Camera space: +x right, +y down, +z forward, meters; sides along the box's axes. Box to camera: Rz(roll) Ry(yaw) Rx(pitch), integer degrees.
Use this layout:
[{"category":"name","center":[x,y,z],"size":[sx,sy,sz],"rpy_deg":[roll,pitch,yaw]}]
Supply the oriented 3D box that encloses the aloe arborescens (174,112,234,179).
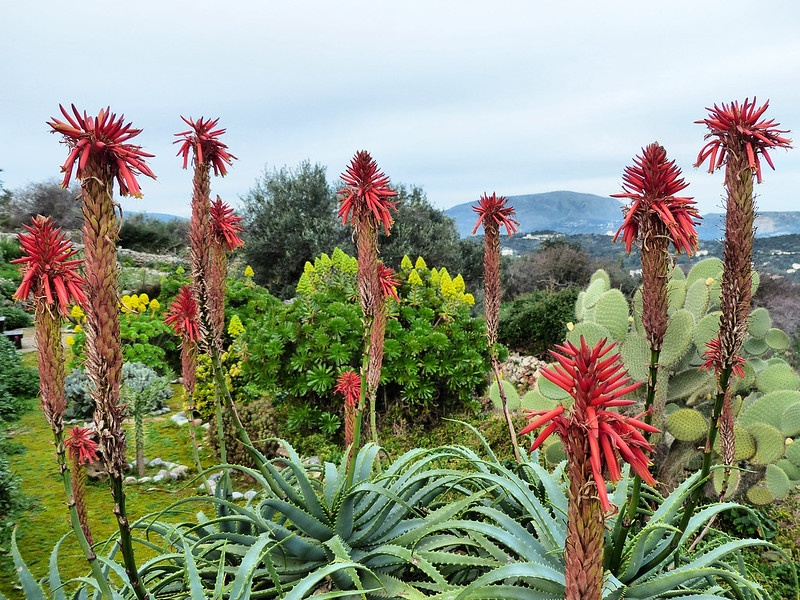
[{"category":"aloe arborescens","center":[-1.199,-0.849,3.865],"size":[0.357,0.465,0.380],"rpy_deg":[2,9,-13]}]

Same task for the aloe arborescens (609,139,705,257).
[{"category":"aloe arborescens","center":[1.405,-0.537,3.568],"size":[0.460,0.620,0.290],"rpy_deg":[-4,6,23]}]

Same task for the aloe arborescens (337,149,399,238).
[{"category":"aloe arborescens","center":[-0.202,-0.601,3.884],"size":[0.296,0.527,0.330],"rpy_deg":[11,12,28]}]

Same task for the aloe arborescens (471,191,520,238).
[{"category":"aloe arborescens","center":[0.704,-0.642,5.030],"size":[0.278,0.357,0.318],"rpy_deg":[1,-1,32]}]

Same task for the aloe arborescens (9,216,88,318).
[{"category":"aloe arborescens","center":[-1.854,-0.174,3.385],"size":[0.338,0.429,0.318],"rpy_deg":[-10,7,-25]}]
